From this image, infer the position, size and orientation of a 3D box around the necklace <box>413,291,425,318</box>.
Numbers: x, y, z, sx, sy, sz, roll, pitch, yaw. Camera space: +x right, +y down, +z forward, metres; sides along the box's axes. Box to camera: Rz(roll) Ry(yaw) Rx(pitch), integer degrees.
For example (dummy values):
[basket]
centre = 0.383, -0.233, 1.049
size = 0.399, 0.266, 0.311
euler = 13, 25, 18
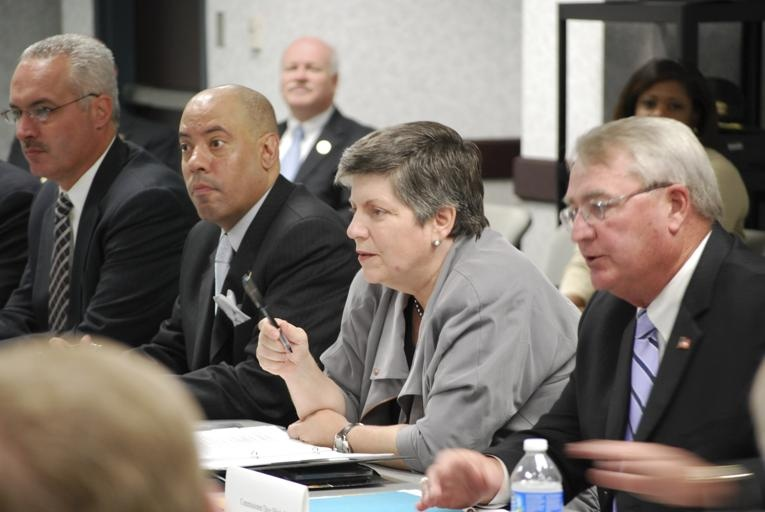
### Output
[necklace]
centre = 0.113, 0.158, 2.432
size = 0.019, 0.057, 0.040
euler = 2, -11, -29

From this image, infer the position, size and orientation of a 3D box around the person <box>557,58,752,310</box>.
[person]
centre = 1.038, -0.263, 2.975
size = 0.650, 0.978, 0.888
euler = 4, 6, 18

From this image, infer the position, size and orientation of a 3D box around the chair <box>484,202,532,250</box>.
[chair]
centre = 0.653, -0.169, 3.987
size = 0.246, 0.320, 0.259
euler = -3, -11, 15

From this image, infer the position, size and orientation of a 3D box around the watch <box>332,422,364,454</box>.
[watch]
centre = -0.100, 0.528, 2.290
size = 0.071, 0.077, 0.072
euler = -5, -8, 39

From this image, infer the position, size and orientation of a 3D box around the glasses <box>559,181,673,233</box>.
[glasses]
centre = 0.560, -0.129, 1.922
size = 0.133, 0.037, 0.133
euler = -26, -1, -12
